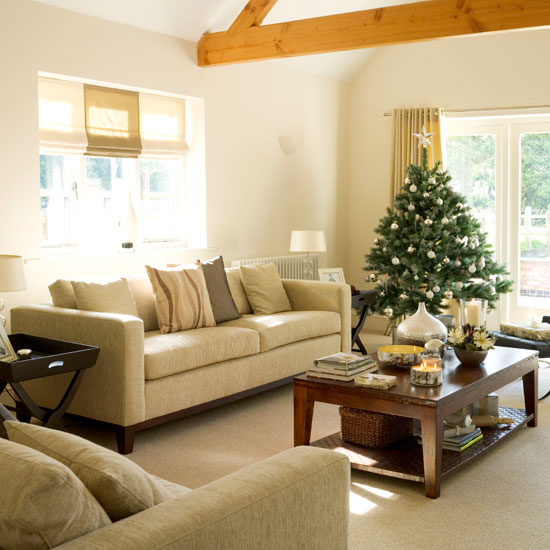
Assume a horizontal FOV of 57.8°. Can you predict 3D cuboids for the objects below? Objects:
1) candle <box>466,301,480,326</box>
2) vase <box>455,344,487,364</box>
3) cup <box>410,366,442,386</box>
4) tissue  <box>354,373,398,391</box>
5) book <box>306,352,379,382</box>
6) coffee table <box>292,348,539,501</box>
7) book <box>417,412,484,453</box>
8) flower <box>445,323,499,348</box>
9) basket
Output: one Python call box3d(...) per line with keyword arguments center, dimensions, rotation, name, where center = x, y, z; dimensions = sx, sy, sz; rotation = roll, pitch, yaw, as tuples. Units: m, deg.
box3d(center=(1.530, 0.288, 3.844), dimensions=(0.096, 0.162, 0.300), rotation=(0, 2, 22), name="candle")
box3d(center=(1.201, 0.488, 3.084), dimensions=(0.126, 0.070, 0.130), rotation=(1, -4, 26), name="vase")
box3d(center=(0.805, 0.533, 2.652), dimensions=(0.106, 0.062, 0.109), rotation=(-1, 2, 0), name="cup")
box3d(center=(0.525, 0.561, 2.657), dimensions=(0.221, 0.051, 0.154), rotation=(0, 2, 28), name="tissue ")
box3d(center=(0.397, 0.538, 2.916), dimensions=(0.286, 0.099, 0.414), rotation=(1, 4, 31), name="book")
box3d(center=(0.918, 0.807, 2.982), dimensions=(1.533, 0.517, 0.779), rotation=(-2, 3, -38), name="coffee table")
box3d(center=(0.995, 0.856, 2.828), dimensions=(0.222, 0.063, 0.235), rotation=(-1, 4, 37), name="book")
box3d(center=(1.223, 0.388, 3.096), dimensions=(0.184, 0.109, 0.186), rotation=(0, 2, -14), name="flower")
box3d(center=(0.565, 0.853, 2.805), dimensions=(0.297, 0.126, 0.214), rotation=(1, 3, 2), name="basket")
